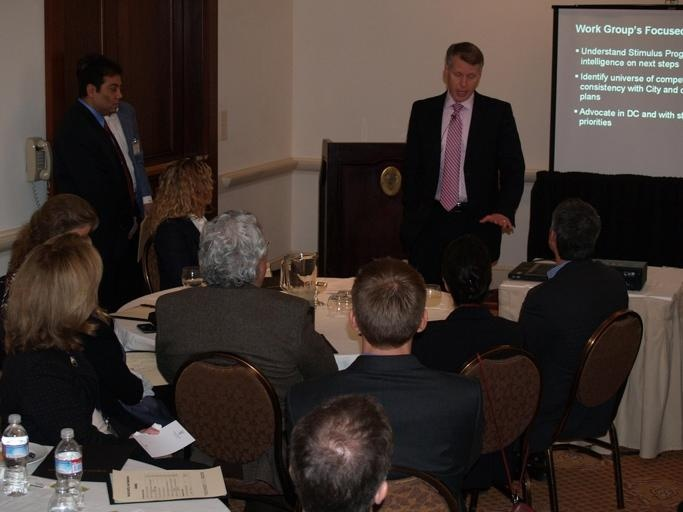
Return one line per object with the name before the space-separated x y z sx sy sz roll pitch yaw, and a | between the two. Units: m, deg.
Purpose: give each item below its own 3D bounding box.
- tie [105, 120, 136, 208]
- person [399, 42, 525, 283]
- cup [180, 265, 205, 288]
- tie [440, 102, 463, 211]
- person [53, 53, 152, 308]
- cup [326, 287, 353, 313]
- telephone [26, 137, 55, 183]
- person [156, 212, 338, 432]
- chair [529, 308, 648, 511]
tie | -1.532 -0.693 4.173 0.080 0.689 0.097 -8 -1 -27
person | 0.843 -0.267 4.291 0.777 2.405 0.772 9 29 18
cup | -0.687 0.091 2.811 0.110 0.136 0.124 -1 3 -4
tie | 0.750 -0.675 4.082 0.137 0.709 0.155 2 9 10
person | -1.530 -0.299 4.226 0.428 2.048 0.652 10 29 15
cup | -0.005 0.206 2.905 0.082 0.054 0.132 1 8 6
telephone | -1.792 -0.570 3.554 0.118 0.265 0.127 0 10 -5
person | -0.376 0.474 2.316 0.648 1.272 0.566 0 1 -4
chair | 1.130 0.699 2.689 0.318 1.034 0.560 7 12 36
